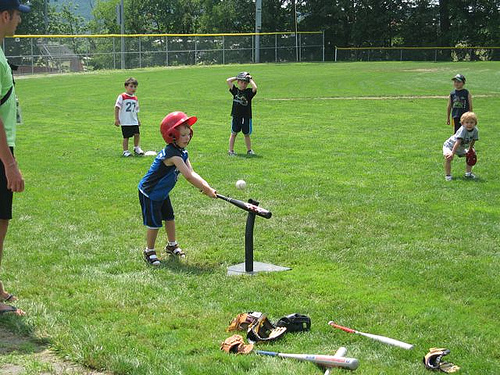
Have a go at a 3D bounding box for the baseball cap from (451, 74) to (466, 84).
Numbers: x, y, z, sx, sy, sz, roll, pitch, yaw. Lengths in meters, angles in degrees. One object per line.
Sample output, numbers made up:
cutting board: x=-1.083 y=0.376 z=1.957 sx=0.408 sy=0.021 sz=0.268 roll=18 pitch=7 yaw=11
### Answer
baseball cap: x=4.180 y=-2.142 z=13.833 sx=0.295 sy=0.153 sz=0.207 roll=1 pitch=10 yaw=-31

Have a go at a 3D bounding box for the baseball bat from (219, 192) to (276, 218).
baseball bat: x=-0.061 y=0.251 z=10.184 sx=0.790 sy=0.094 sz=0.117 roll=20 pitch=-11 yaw=22

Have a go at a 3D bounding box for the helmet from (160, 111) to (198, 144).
helmet: x=-0.970 y=-0.840 z=8.902 sx=0.346 sy=0.419 sz=0.433 roll=17 pitch=31 yaw=32

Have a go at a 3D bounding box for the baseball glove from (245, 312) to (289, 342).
baseball glove: x=0.170 y=1.492 z=7.474 sx=0.441 sy=0.200 sz=0.330 roll=-10 pitch=14 yaw=29

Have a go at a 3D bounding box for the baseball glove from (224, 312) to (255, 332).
baseball glove: x=-0.121 y=1.449 z=7.580 sx=0.260 sy=0.095 sz=0.200 roll=-24 pitch=24 yaw=7

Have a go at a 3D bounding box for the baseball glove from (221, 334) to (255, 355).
baseball glove: x=-0.142 y=1.609 z=7.243 sx=0.235 sy=0.092 sz=0.175 roll=1 pitch=5 yaw=-19

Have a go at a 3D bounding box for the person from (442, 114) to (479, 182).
person: x=3.791 y=-0.789 z=12.649 sx=0.682 sy=1.270 sz=0.650 roll=-2 pitch=18 yaw=-2

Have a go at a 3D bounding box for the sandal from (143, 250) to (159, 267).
sandal: x=-1.280 y=0.886 z=9.016 sx=0.135 sy=0.155 sz=0.309 roll=-7 pitch=14 yaw=-28

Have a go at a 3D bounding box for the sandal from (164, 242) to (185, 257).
sandal: x=-0.993 y=0.807 z=9.281 sx=0.329 sy=0.149 sz=0.113 roll=12 pitch=23 yaw=23

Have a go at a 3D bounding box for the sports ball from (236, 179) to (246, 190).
sports ball: x=-0.134 y=-0.069 z=9.673 sx=0.130 sy=0.132 sz=0.131 roll=1 pitch=-19 yaw=0

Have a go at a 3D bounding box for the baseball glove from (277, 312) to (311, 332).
baseball glove: x=0.491 y=1.436 z=7.552 sx=0.264 sy=0.131 sz=0.202 roll=-1 pitch=8 yaw=-15

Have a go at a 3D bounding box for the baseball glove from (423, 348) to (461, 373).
baseball glove: x=1.913 y=1.746 z=7.099 sx=0.230 sy=0.118 sz=0.280 roll=-5 pitch=14 yaw=-29

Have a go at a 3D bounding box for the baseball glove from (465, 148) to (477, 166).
baseball glove: x=3.896 y=-0.558 z=12.412 sx=0.097 sy=0.275 sz=0.202 roll=-8 pitch=-7 yaw=38

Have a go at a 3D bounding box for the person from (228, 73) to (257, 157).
person: x=-0.187 y=-1.593 z=14.755 sx=0.591 sy=1.664 sz=1.271 roll=0 pitch=12 yaw=0

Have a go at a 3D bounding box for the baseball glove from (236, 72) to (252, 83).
baseball glove: x=-0.117 y=-2.317 z=14.486 sx=0.192 sy=0.192 sz=0.252 roll=12 pitch=28 yaw=26
